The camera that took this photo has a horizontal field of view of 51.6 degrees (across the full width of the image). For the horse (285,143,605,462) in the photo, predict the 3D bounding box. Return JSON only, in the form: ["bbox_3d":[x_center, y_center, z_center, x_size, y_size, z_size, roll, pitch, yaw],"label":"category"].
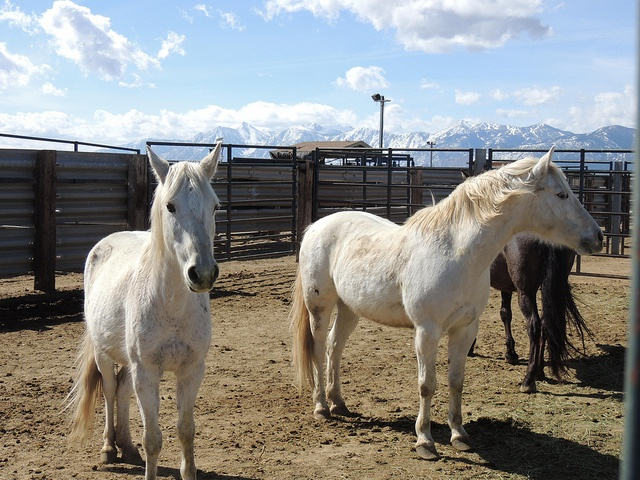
[{"bbox_3d":[1.041,0.634,6.982,3.236,3.282,1.137,4,12,33],"label":"horse"}]

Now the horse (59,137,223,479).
[{"bbox_3d":[-1.490,0.677,5.855,1.865,2.937,0.757,9,15,39],"label":"horse"}]
